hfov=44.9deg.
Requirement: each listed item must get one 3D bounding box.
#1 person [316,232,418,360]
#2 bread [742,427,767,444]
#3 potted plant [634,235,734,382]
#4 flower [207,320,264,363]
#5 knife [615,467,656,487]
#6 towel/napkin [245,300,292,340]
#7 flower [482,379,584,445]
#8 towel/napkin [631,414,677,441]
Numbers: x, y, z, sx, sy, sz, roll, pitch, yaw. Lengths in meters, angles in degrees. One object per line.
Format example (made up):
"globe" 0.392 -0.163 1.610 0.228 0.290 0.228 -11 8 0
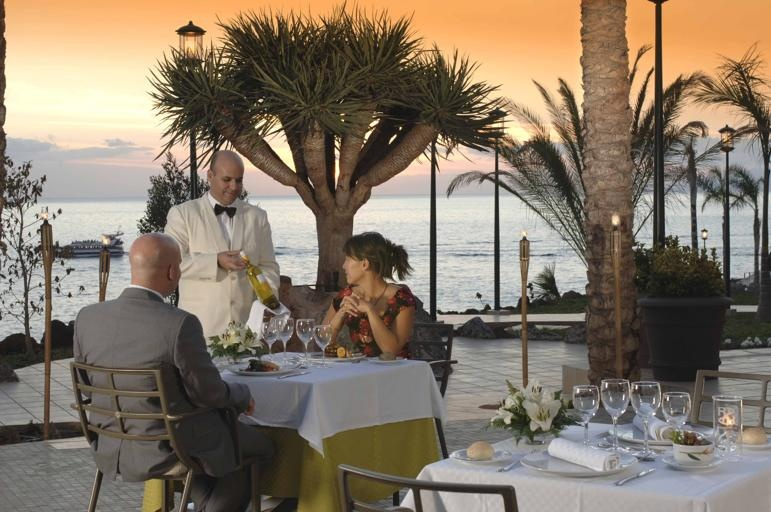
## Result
"person" -0.165 0.407 9.536 0.891 1.271 0.510 -1 0 1
"bread" 2.878 1.403 7.239 0.140 0.086 0.144 -1 1 1
"potted plant" 4.670 0.894 15.285 1.834 2.912 2.197 -5 -5 20
"flower" -1.431 0.826 8.903 0.392 0.245 0.384 -2 3 -36
"knife" 1.836 1.624 6.849 0.385 0.017 0.043 -12 35 -33
"towel/napkin" -1.168 0.619 9.135 0.437 0.466 0.324 -8 1 19
"flower" 1.197 1.226 7.403 0.531 0.334 0.525 0 0 -39
"towel/napkin" 2.124 1.352 7.352 0.174 0.073 0.207 -2 5 -28
